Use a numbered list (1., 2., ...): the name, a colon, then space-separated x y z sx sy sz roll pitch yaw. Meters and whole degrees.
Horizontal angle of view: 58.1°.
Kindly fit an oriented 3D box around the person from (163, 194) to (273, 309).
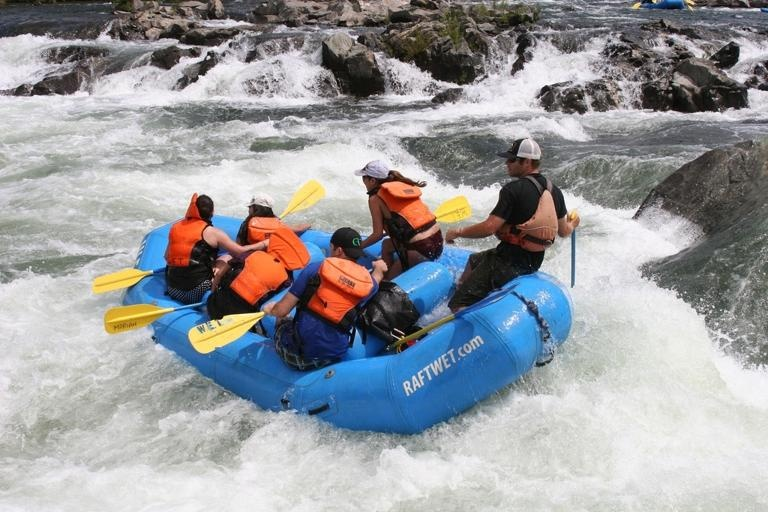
1. person: -2.045 -0.005 8.675 1.132 1.439 1.026 26 51 16

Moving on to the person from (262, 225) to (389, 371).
1. person: -0.698 0.661 7.573 1.122 1.243 0.626 -2 38 -9

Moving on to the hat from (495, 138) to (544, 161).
1. hat: 1.531 -1.177 7.780 0.430 0.287 0.285 29 42 32

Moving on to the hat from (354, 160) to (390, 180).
1. hat: -0.154 -1.074 8.584 0.414 0.129 0.242 5 20 15

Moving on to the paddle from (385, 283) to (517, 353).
1. paddle: 0.747 0.709 7.722 1.662 0.178 0.113 -25 34 19

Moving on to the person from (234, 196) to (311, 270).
1. person: -1.391 -0.269 8.868 1.196 0.955 0.473 -13 21 -23

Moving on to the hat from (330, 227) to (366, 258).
1. hat: -0.349 -0.161 7.639 0.402 0.208 0.275 30 26 19

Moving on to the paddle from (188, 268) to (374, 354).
1. paddle: -1.492 0.739 7.825 1.314 0.090 0.309 -25 75 7
